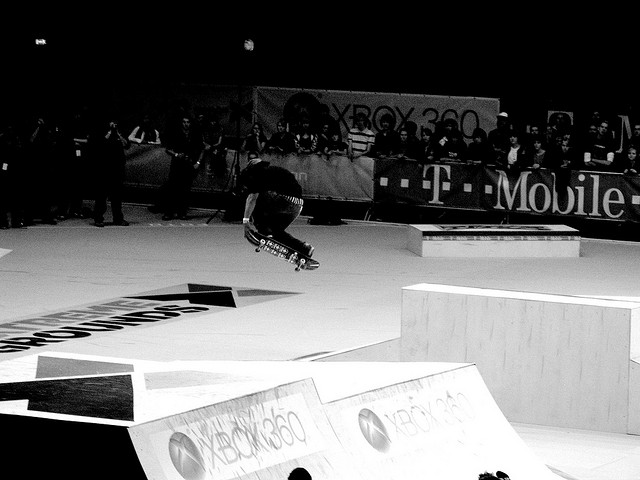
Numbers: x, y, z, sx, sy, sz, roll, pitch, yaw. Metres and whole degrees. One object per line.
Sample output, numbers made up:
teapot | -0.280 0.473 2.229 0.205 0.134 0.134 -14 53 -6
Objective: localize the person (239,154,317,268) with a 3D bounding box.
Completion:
person | -0.536 -0.305 8.512 0.864 1.367 0.398 -2 12 -16

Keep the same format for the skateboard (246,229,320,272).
skateboard | -0.556 0.171 9.671 1.183 0.274 0.159 26 28 -23

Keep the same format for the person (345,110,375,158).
person | 0.820 -2.123 14.304 0.579 0.912 0.555 5 5 7

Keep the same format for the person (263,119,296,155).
person | -0.827 -2.160 14.642 0.740 0.662 0.411 2 8 17

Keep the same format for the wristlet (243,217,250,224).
wristlet | -0.888 -0.234 8.340 0.072 0.065 0.071 1 -2 -6
